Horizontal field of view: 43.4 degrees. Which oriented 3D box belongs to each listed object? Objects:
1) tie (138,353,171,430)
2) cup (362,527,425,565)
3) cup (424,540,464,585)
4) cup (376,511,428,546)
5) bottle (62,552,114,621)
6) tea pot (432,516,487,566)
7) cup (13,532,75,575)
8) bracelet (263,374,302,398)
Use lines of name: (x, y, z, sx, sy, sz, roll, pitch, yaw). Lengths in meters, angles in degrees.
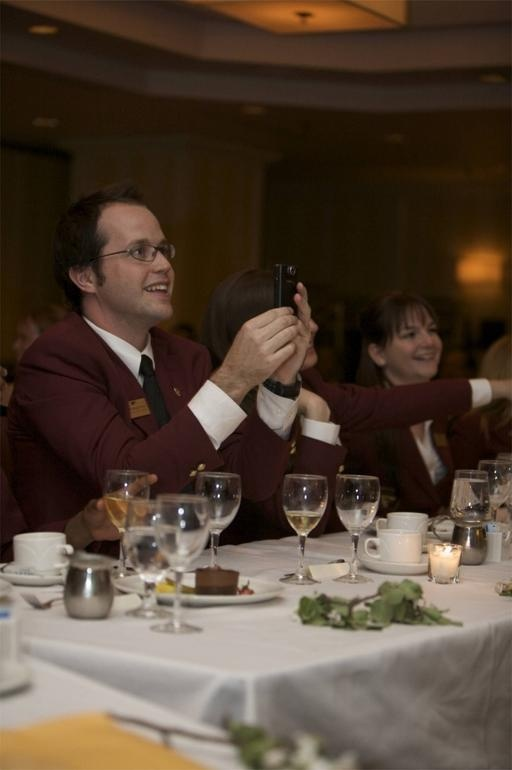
tie: (-0.272, 0.017, 1.719, 0.058, 0.243, 0.037, -15, -38, 1)
cup: (0.247, 0.279, 1.126, 0.084, 0.043, 0.058, -3, -1, 1)
cup: (0.301, 0.277, 1.020, 0.060, 0.060, 0.056, 0, 1, 0)
cup: (0.279, 0.266, 1.249, 0.105, 0.069, 0.078, -1, 0, 7)
bottle: (-0.183, 0.225, 0.745, 0.054, 0.070, 0.072, 3, -24, -4)
tea pot: (0.404, 0.302, 1.285, 0.109, 0.087, 0.065, -2, 2, 12)
cup: (-0.324, 0.253, 0.981, 0.077, 0.045, 0.057, 1, -5, 20)
bracelet: (0.076, -0.001, 1.606, 0.068, 0.035, 0.053, 13, 15, 30)
